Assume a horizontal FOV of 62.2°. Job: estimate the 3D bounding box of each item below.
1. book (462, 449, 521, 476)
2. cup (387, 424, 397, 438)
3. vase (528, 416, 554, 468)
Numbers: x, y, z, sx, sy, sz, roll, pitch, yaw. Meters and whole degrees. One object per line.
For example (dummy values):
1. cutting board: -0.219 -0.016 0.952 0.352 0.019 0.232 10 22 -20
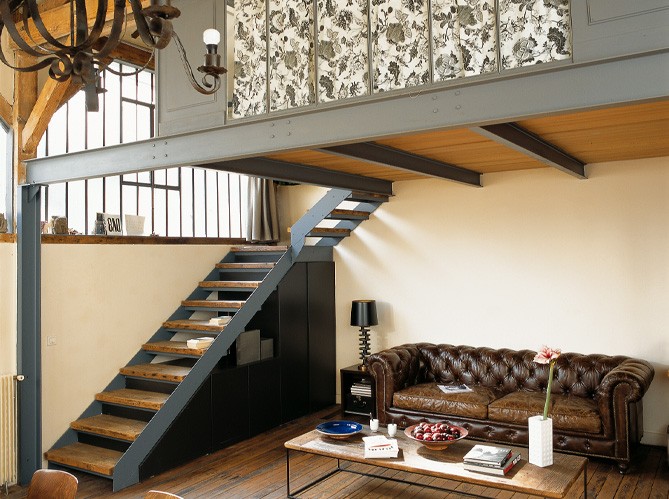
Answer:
1. book: 1.238 1.648 4.347 0.351 0.111 0.403 0 -2 28
2. cup: 0.553 1.644 5.031 0.116 0.103 0.091 -1 0 23
3. vase: 1.619 1.499 4.348 0.176 0.366 0.164 0 -1 18
